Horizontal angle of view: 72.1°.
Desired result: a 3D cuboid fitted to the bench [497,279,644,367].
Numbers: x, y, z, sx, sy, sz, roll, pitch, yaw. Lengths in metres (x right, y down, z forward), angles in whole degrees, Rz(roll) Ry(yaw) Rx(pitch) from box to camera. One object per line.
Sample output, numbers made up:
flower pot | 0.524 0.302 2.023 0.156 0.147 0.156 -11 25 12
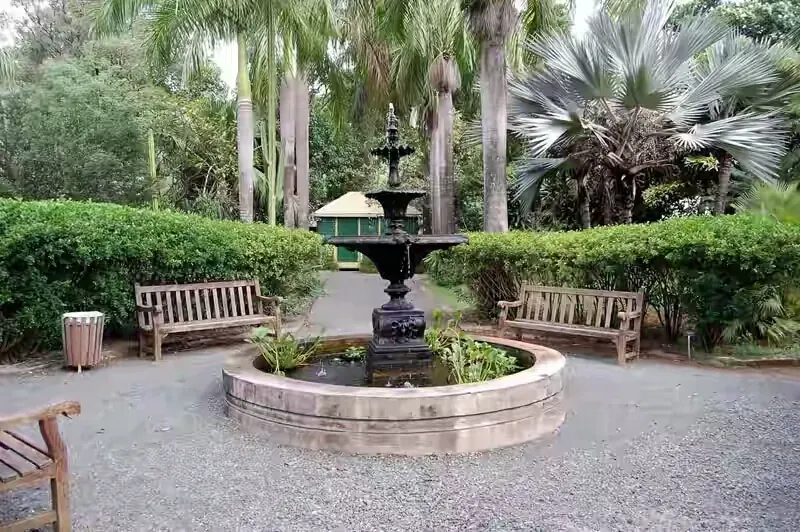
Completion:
bench | 2.919 0.993 9.737 0.818 1.215 2.363 -4 5 -45

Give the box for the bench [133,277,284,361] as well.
bench | -3.380 0.904 9.973 0.821 1.320 2.567 4 3 38
